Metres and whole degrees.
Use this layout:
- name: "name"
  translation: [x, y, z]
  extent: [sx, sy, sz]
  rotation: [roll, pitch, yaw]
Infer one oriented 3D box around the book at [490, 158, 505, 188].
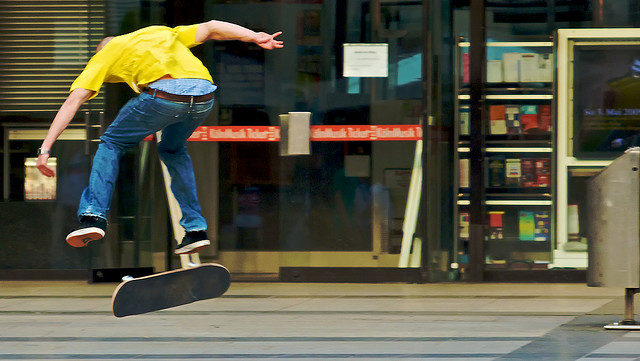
- name: "book"
  translation: [2.847, -0.122, 21.796]
  extent: [0.225, 0.469, 0.044]
  rotation: [-2, 3, -8]
